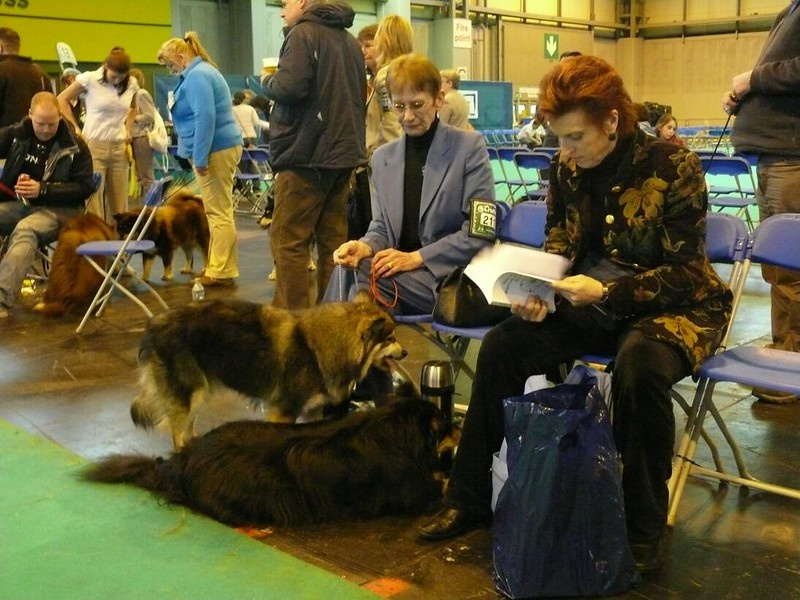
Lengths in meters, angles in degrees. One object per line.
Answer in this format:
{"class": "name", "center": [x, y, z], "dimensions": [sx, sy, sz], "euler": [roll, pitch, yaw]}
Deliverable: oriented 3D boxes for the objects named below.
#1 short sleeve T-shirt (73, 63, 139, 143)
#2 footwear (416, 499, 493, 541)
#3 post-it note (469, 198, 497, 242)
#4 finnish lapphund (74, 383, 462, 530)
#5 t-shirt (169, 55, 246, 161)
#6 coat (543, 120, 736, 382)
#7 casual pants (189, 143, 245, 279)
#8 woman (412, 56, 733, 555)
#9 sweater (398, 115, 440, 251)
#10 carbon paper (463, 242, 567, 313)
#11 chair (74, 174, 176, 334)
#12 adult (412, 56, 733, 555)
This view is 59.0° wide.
{"class": "short sleeve T-shirt", "center": [-3.489, -2.335, 8.394], "dimensions": [0.650, 0.708, 0.381], "euler": [-17, 36, -33]}
{"class": "footwear", "center": [0.211, 0.896, 2.931], "dimensions": [0.368, 0.138, 0.122], "euler": [-6, 7, -32]}
{"class": "post-it note", "center": [0.412, -0.407, 3.616], "dimensions": [0.224, 0.248, 0.041], "euler": [4, -7, -27]}
{"class": "finnish lapphund", "center": [-0.583, 0.713, 3.163], "dimensions": [1.653, 0.551, 0.509], "euler": [2, 3, -5]}
{"class": "t-shirt", "center": [-1.950, -1.922, 7.127], "dimensions": [0.705, 1.035, 0.957], "euler": [-5, 18, -11]}
{"class": "coat", "center": [1.005, -0.244, 3.243], "dimensions": [0.903, 1.056, 0.965], "euler": [-24, 23, -31]}
{"class": "casual pants", "center": [-1.854, -0.897, 7.333], "dimensions": [0.505, 1.532, 0.555], "euler": [4, -18, -22]}
{"class": "woman", "center": [0.741, -0.025, 3.051], "dimensions": [1.237, 1.894, 1.190], "euler": [2, 8, 17]}
{"class": "sweater", "center": [0.080, -0.629, 3.849], "dimensions": [0.201, 0.817, 0.182], "euler": [11, 32, 9]}
{"class": "carbon paper", "center": [0.459, -0.078, 2.859], "dimensions": [0.405, 0.285, 0.253], "euler": [3, 15, 14]}
{"class": "chair", "center": [-2.501, -0.422, 6.319], "dimensions": [0.871, 1.218, 0.872], "euler": [6, 13, 14]}
{"class": "adult", "center": [0.740, -0.019, 3.063], "dimensions": [1.223, 1.884, 1.128], "euler": [3, 8, 23]}
